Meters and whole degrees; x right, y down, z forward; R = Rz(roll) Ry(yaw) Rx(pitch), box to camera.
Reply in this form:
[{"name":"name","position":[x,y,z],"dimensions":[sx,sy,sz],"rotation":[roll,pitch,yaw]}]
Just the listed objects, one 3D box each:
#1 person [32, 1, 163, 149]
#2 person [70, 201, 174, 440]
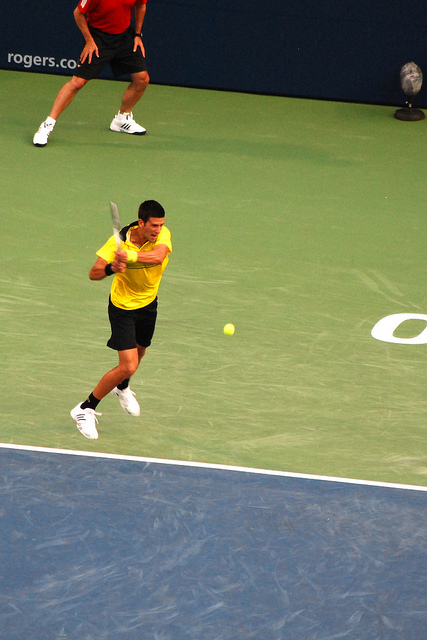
[{"name":"person","position":[-1.417,-3.264,9.365],"dimensions":[1.166,1.715,1.462],"rotation":[8,18,22]},{"name":"person","position":[-0.613,-0.011,4.725],"dimensions":[0.660,1.577,0.672],"rotation":[-1,18,-4]}]
